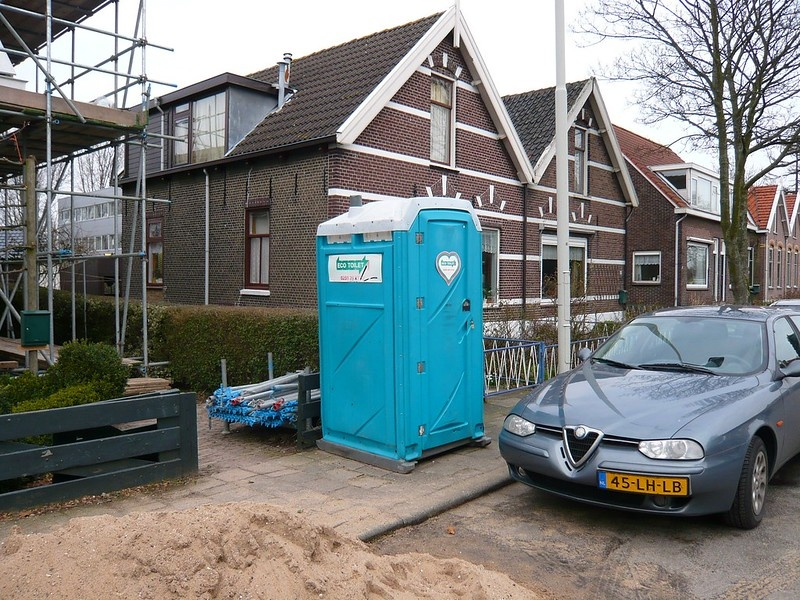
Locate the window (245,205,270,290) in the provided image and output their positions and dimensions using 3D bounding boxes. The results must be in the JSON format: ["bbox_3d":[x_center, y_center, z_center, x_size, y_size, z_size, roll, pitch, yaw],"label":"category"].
[{"bbox_3d":[-3.272,-1.140,15.353,0.795,1.788,0.279,8,10,44],"label":"window"}]

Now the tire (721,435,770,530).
[{"bbox_3d":[3.373,1.803,6.640,0.233,0.821,0.759,4,15,33],"label":"tire"}]

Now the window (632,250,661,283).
[{"bbox_3d":[8.525,-1.129,23.269,0.991,1.285,0.123,1,1,41],"label":"window"}]

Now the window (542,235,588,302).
[{"bbox_3d":[3.929,-0.730,16.355,0.152,1.560,1.967,0,3,30],"label":"window"}]

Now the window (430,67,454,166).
[{"bbox_3d":[0.966,-4.130,15.652,0.743,1.934,0.254,-5,10,-42],"label":"window"}]
